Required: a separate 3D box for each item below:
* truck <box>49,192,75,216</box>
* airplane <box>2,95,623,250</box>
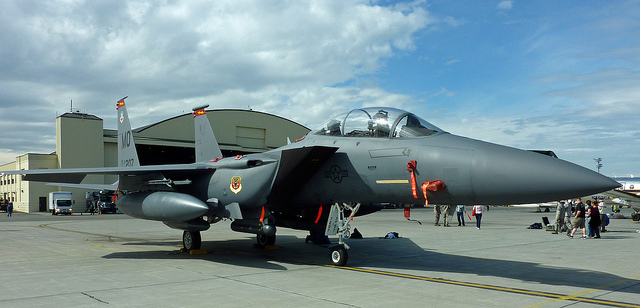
[{"bbox_3d":[-31.331,5.900,45.634,2.348,1.683,3.912,2,-8,-29],"label":"truck"},{"bbox_3d":[-0.274,0.936,16.292,18.192,4.002,12.641,0,-1,31],"label":"airplane"}]
